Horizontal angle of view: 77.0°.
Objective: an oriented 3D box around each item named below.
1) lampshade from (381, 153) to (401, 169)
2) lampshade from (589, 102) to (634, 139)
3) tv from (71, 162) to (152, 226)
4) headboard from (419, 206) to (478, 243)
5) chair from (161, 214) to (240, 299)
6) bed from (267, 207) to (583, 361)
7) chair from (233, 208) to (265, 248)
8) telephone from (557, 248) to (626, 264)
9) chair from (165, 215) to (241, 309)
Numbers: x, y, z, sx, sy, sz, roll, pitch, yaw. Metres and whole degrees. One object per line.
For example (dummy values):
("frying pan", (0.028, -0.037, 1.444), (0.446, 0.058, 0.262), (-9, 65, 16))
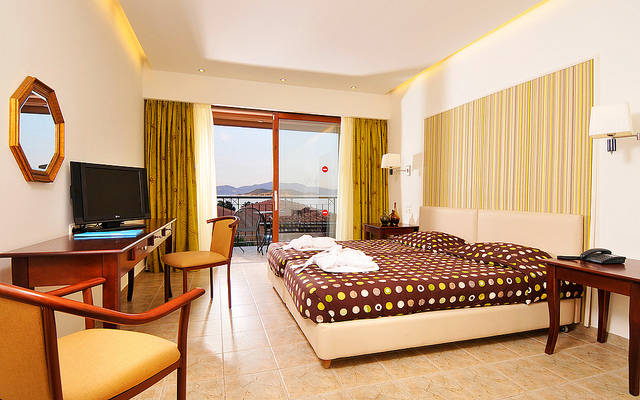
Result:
("lampshade", (1.213, -0.657, 6.823), (0.257, 0.183, 0.250), (-4, 7, -30))
("lampshade", (2.962, -0.794, 4.052), (0.414, 0.373, 0.222), (-3, -5, 38))
("tv", (-2.266, -0.056, 4.497), (1.000, 0.657, 0.277), (0, 5, 10))
("headboard", (1.858, 0.373, 5.762), (0.112, 0.537, 1.041), (10, -9, -38))
("chair", (-1.495, 0.792, 5.018), (0.860, 1.071, 0.799), (-4, 6, -32))
("bed", (1.050, 0.880, 4.328), (2.035, 0.763, 2.140), (1, 0, -15))
("chair", (-1.523, 0.619, 8.591), (0.702, 0.765, 0.663), (-7, 12, -21))
("telephone", (2.655, 0.542, 3.932), (0.533, 0.129, 0.249), (1, 2, 36))
("chair", (-1.494, 0.763, 5.049), (0.872, 1.004, 0.683), (-3, 6, -38))
